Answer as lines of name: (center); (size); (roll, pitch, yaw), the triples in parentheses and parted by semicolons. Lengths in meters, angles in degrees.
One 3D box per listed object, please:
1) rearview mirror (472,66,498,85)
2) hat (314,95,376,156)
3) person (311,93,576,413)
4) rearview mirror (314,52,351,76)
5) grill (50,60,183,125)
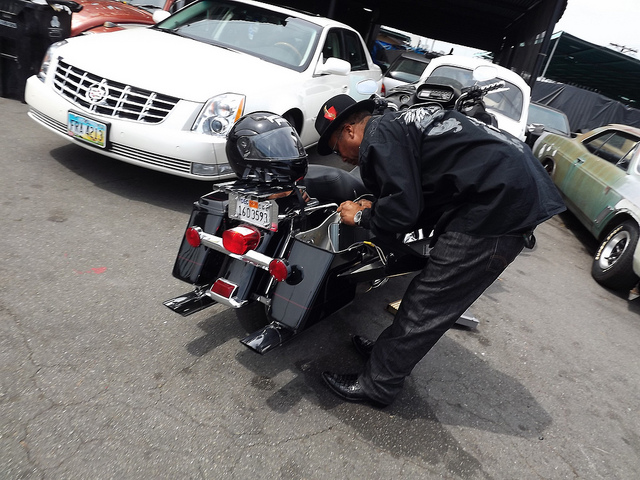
rearview mirror: (1.703, -1.716, 4.152); (0.216, 0.160, 0.343); (21, 22, 9)
hat: (0.121, -0.725, 2.570); (0.230, 0.394, 0.331); (32, 27, 23)
person: (0.543, 0.132, 2.462); (1.079, 1.806, 0.744); (29, 26, 18)
rearview mirror: (0.167, -2.263, 5.292); (0.429, 0.286, 0.434); (14, 23, -7)
grill: (-2.089, -1.421, 4.020); (1.443, 0.361, 0.421); (25, 24, 26)
